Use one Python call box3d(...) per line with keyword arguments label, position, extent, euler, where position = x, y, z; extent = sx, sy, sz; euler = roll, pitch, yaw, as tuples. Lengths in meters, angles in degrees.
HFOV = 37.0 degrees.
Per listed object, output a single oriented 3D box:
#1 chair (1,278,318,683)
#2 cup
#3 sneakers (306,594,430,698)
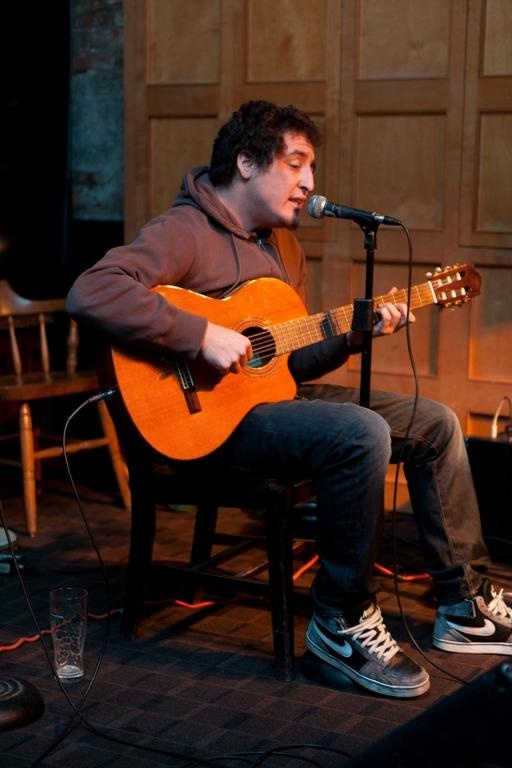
box3d(label="chair", position=(-0.103, 0.204, 1.991), extent=(0.530, 0.955, 0.522), euler=(0, 7, 5))
box3d(label="cup", position=(-0.450, 0.596, 1.852), extent=(0.081, 0.235, 0.157), euler=(-3, 7, -15))
box3d(label="sneakers", position=(0.264, 0.617, 1.824), extent=(0.120, 0.156, 0.347), euler=(-8, 13, -38))
